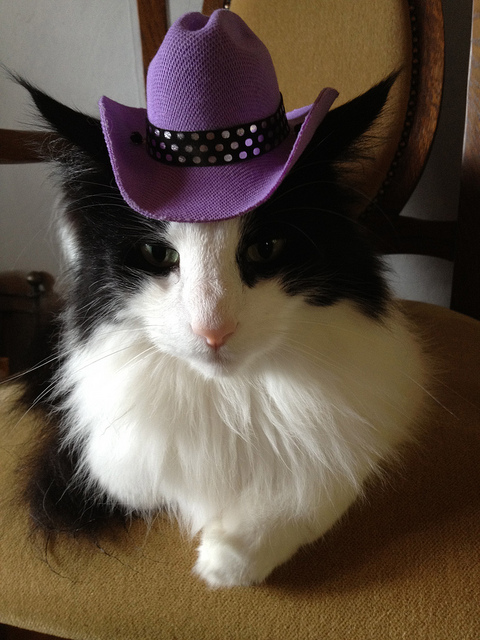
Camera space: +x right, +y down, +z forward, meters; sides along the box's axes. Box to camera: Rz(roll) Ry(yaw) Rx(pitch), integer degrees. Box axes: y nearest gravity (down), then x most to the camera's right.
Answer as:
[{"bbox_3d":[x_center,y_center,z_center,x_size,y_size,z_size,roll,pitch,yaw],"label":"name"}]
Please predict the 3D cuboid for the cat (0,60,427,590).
[{"bbox_3d":[-0.017,-0.009,0.779,0.582,0.372,0.526,1,-74,-6],"label":"cat"}]
